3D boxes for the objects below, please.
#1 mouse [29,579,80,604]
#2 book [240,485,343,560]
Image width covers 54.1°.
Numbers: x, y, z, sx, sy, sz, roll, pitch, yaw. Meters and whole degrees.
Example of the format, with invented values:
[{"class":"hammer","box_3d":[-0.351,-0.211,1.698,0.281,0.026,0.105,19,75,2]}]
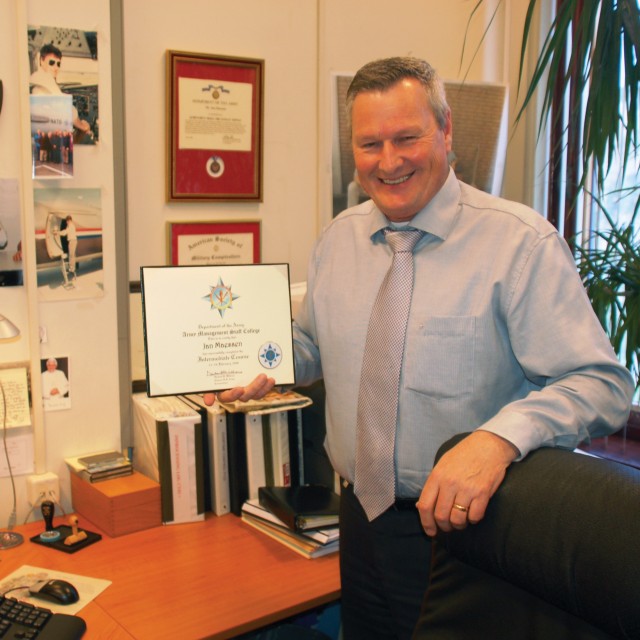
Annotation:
[{"class":"mouse","box_3d":[-0.600,0.597,1.412,0.083,0.029,0.051,1,7,28]},{"class":"book","box_3d":[-0.064,0.538,1.706,0.157,0.061,0.161,17,10,42]}]
